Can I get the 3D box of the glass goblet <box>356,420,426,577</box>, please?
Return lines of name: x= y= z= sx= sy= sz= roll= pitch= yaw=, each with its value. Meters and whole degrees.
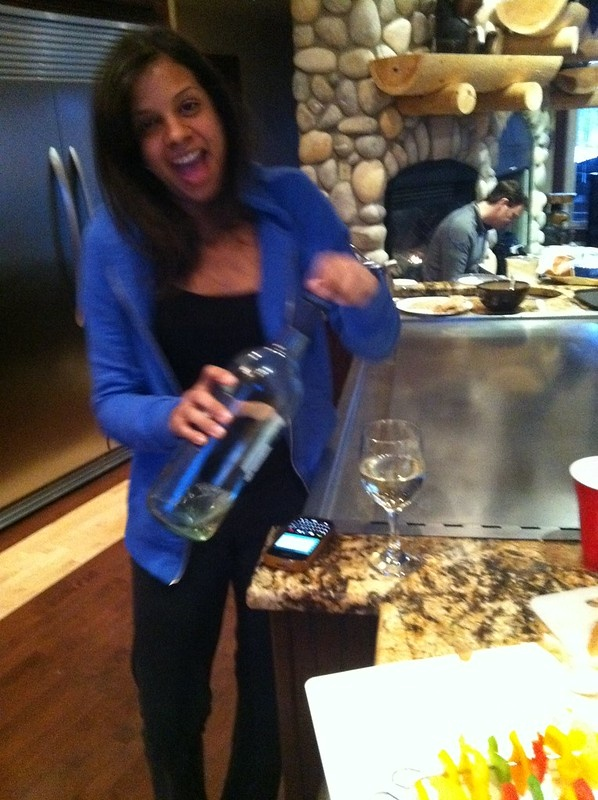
glass goblet: x=0.097 y=0.109 z=0.665 sx=0.077 sy=0.167 sz=0.077 roll=-7 pitch=28 yaw=5

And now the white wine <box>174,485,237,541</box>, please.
white wine: x=-0.098 y=0.114 z=0.672 sx=0.056 sy=0.043 sz=0.060 roll=26 pitch=-4 yaw=-1

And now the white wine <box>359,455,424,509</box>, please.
white wine: x=0.088 y=0.077 z=0.621 sx=0.060 sy=0.050 sz=0.061 roll=-4 pitch=10 yaw=-4

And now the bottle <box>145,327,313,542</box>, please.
bottle: x=-0.063 y=0.025 z=0.752 sx=0.095 sy=0.169 sz=0.288 roll=11 pitch=24 yaw=34

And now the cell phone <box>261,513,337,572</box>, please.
cell phone: x=0.001 y=0.157 z=0.684 sx=0.049 sy=0.017 sz=0.090 roll=9 pitch=21 yaw=21
